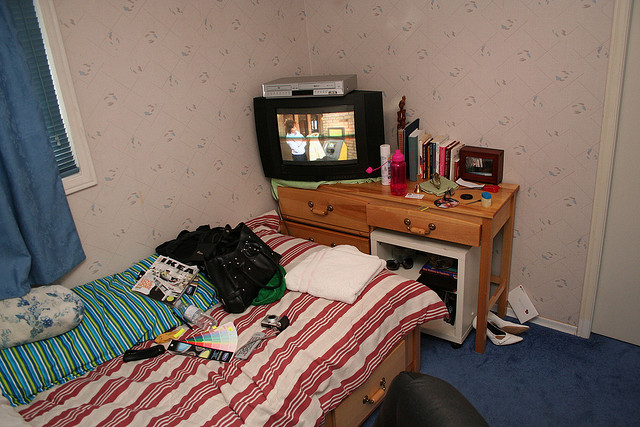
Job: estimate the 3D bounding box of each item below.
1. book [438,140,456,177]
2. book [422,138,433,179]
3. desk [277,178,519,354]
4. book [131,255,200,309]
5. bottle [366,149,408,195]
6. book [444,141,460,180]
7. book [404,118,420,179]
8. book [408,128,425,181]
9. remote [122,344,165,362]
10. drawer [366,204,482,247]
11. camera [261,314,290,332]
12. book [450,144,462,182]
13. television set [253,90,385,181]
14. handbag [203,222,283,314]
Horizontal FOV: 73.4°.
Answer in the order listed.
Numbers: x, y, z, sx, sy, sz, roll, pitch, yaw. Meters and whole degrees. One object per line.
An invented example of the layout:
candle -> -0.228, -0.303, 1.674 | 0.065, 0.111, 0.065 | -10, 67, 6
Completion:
book -> 0.908, -0.392, 3.078 | 0.113, 0.188, 0.198 | 11, 29, 29
book -> 0.783, -0.412, 3.124 | 0.041, 0.286, 0.228 | 6, 22, 25
desk -> 0.540, 0.290, 3.455 | 1.770, 1.049, 0.625 | 9, 25, 34
book -> -0.971, 0.427, 2.700 | 0.315, 0.226, 0.250 | 0, 20, 15
bottle -> 0.470, -0.292, 3.082 | 0.314, 0.298, 0.125 | -1, 16, 10
book -> 0.941, -0.375, 3.079 | 0.037, 0.252, 0.203 | 12, 29, 28
book -> 0.666, -0.452, 3.127 | 0.053, 0.395, 0.305 | 10, 35, 23
book -> 0.701, -0.425, 3.128 | 0.154, 0.274, 0.285 | 9, 29, 27
remote -> -0.999, 0.776, 2.419 | 0.171, 0.041, 0.093 | -5, 11, -4
drawer -> 0.682, 0.068, 2.929 | 0.787, 0.223, 0.086 | 7, 23, 32
camera -> -0.270, 0.619, 2.512 | 0.117, 0.047, 0.089 | 10, 20, 28
book -> 0.970, -0.368, 3.076 | 0.032, 0.235, 0.188 | 11, 32, 29
television set -> -0.103, -0.535, 3.417 | 1.072, 0.687, 0.568 | -4, -2, -22
handbag -> -0.503, 0.340, 2.842 | 0.302, 0.401, 0.597 | -10, 20, 32
